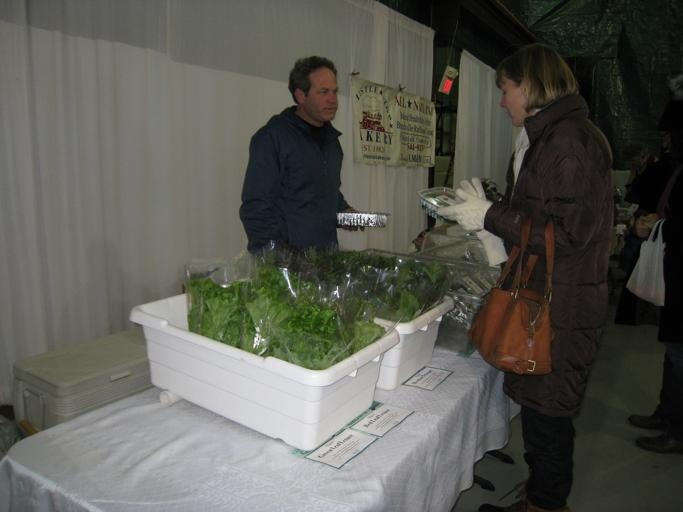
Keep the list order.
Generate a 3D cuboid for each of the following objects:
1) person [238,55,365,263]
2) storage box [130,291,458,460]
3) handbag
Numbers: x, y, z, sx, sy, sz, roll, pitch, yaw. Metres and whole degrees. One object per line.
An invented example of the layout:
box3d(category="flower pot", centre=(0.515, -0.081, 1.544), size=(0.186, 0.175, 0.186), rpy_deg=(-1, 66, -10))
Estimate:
box3d(category="person", centre=(-0.233, -0.544, 2.803), size=(0.665, 1.021, 0.447), rpy_deg=(-7, 13, -19))
box3d(category="storage box", centre=(-0.129, 0.212, 1.728), size=(0.588, 0.274, 0.706), rpy_deg=(13, 20, 35))
box3d(category="handbag", centre=(0.656, 0.292, 1.997), size=(0.156, 0.322, 0.288), rpy_deg=(22, -5, -31))
